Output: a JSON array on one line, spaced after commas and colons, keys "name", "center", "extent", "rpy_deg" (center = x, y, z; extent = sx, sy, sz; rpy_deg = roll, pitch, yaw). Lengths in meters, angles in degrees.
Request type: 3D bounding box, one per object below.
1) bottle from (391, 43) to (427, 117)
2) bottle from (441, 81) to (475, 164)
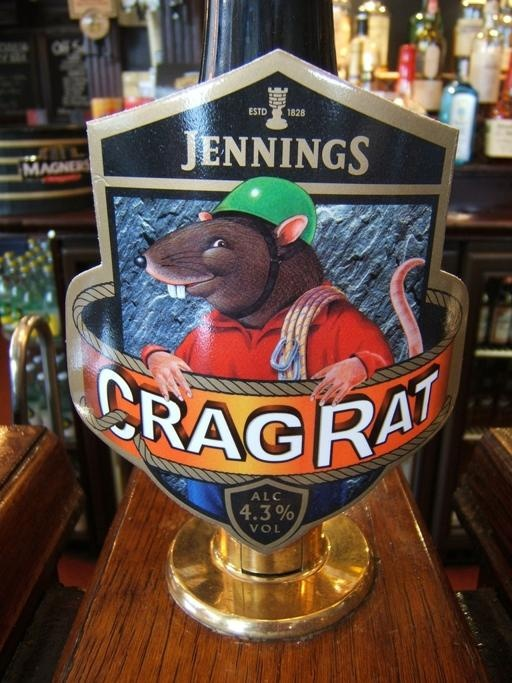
[{"name": "bottle", "center": [0.514, -0.857, 2.047], "extent": [0.111, 0.209, 0.416], "rpy_deg": [6, 27, 11]}, {"name": "bottle", "center": [0.662, -0.712, 2.040], "extent": [0.125, 0.259, 0.139], "rpy_deg": [5, 29, 10]}]
